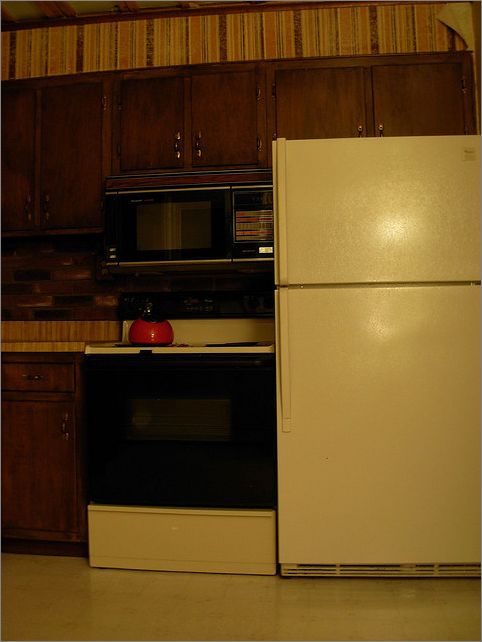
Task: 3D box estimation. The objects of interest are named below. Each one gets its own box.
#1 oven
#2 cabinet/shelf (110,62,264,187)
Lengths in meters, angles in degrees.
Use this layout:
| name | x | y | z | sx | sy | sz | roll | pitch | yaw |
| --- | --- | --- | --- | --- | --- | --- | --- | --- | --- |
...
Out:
| name | x | y | z | sx | sy | sz | roll | pitch | yaw |
| --- | --- | --- | --- | --- | --- | --- | --- | --- | --- |
| oven | -0.225 | 0.429 | 2.795 | 0.718 | 0.976 | 0.651 | 0 | 22 | -3 |
| cabinet/shelf | -0.220 | -0.878 | 2.995 | 0.647 | 0.427 | 0.113 | 0 | 8 | 7 |
